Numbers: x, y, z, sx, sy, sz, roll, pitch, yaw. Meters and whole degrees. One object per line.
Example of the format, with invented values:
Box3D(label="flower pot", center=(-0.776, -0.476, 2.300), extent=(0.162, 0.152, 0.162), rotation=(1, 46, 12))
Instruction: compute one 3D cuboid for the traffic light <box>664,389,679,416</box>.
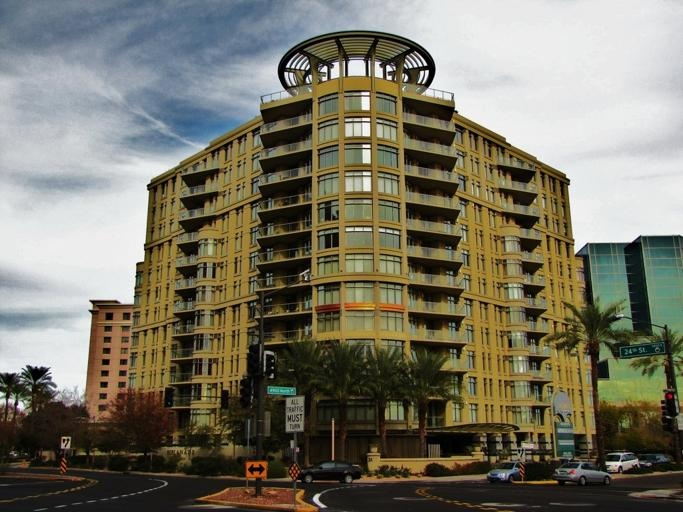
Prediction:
Box3D(label="traffic light", center=(22.182, 9.811, 49.603), extent=(0.745, 1.818, 0.954), rotation=(-8, -18, 17))

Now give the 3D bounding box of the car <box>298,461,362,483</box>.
Box3D(label="car", center=(-0.924, 18.032, 61.754), extent=(5.069, 1.085, 1.842), rotation=(2, -15, 1))
